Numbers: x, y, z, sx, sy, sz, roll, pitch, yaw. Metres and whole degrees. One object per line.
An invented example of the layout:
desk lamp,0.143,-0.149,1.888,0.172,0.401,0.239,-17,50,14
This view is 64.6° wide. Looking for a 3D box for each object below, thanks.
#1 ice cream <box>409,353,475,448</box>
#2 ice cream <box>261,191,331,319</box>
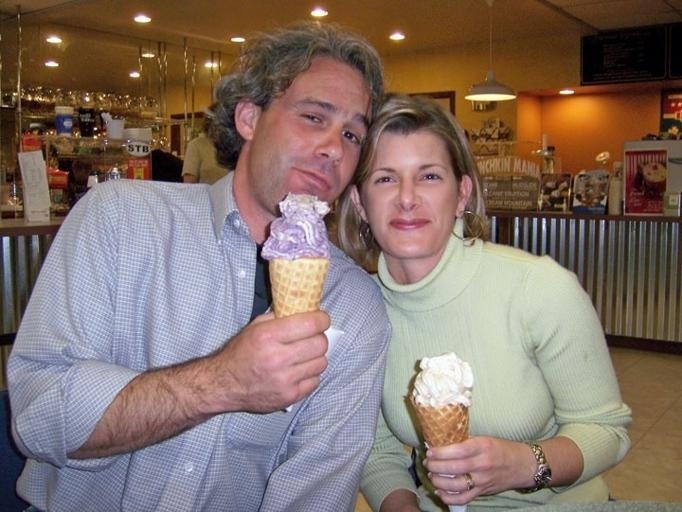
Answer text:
ice cream,0.291,0.396,1.653,0.244,0.283,0.195,10,10,9
ice cream,-0.124,0.007,1.470,0.177,0.332,0.103,-1,10,-6
